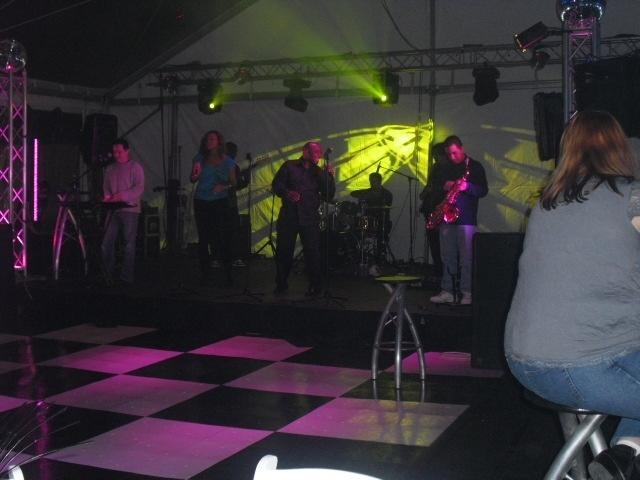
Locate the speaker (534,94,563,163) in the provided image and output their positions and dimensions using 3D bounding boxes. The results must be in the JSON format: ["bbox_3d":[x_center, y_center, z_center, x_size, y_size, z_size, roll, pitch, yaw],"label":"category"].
[{"bbox_3d":[2.259,-1.063,5.807,0.351,0.389,0.452,4,-11,10],"label":"speaker"}]

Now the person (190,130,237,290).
[{"bbox_3d":[-1.149,-0.342,6.650,0.443,1.679,0.309,-2,7,-13],"label":"person"}]

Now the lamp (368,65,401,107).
[{"bbox_3d":[1.048,-2.362,9.396,0.456,0.596,0.503,4,2,12],"label":"lamp"}]

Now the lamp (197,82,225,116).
[{"bbox_3d":[-1.830,-2.378,10.174,0.482,0.639,0.421,0,6,-3],"label":"lamp"}]

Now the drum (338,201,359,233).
[{"bbox_3d":[0.420,-0.371,9.210,0.306,0.422,0.435,1,-9,1],"label":"drum"}]

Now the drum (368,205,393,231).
[{"bbox_3d":[0.938,-0.339,9.450,0.375,0.438,1.067,0,7,6],"label":"drum"}]

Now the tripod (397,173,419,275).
[{"bbox_3d":[1.476,-0.396,9.886,0.261,1.426,0.417,-2,7,-6],"label":"tripod"}]

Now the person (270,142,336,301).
[{"bbox_3d":[-0.221,-0.217,6.361,0.546,1.582,0.349,-1,7,-2],"label":"person"}]

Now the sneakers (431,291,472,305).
[{"bbox_3d":[1.269,0.562,5.923,0.413,0.167,0.157,1,-4,11],"label":"sneakers"}]

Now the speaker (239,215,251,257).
[{"bbox_3d":[-1.202,-0.087,9.682,0.199,0.646,0.774,-1,7,-6],"label":"speaker"}]

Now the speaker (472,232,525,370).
[{"bbox_3d":[1.267,0.227,4.320,0.397,0.613,0.374,0,2,-2],"label":"speaker"}]

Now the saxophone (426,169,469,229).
[{"bbox_3d":[1.229,-0.351,5.947,0.362,0.475,0.120,4,8,34],"label":"saxophone"}]

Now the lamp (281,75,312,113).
[{"bbox_3d":[-0.401,-2.365,9.791,0.487,0.508,0.453,0,6,-23],"label":"lamp"}]
